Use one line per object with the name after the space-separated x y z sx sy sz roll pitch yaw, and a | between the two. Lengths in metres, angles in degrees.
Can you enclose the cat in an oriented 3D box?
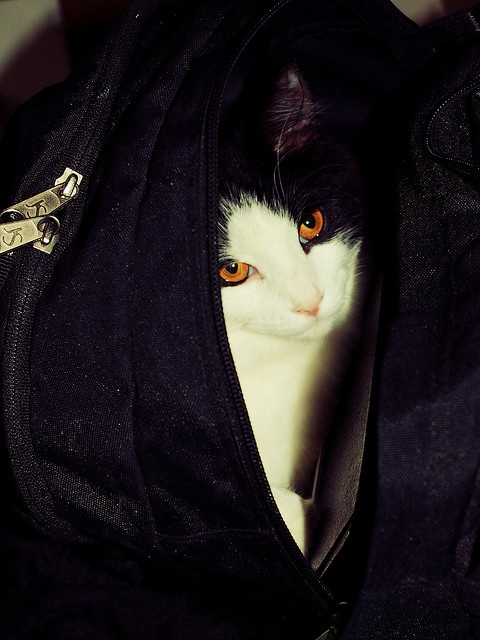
0.048 0.019 0.688 0.076 0.318 0.233 -4 38 14 | cat
